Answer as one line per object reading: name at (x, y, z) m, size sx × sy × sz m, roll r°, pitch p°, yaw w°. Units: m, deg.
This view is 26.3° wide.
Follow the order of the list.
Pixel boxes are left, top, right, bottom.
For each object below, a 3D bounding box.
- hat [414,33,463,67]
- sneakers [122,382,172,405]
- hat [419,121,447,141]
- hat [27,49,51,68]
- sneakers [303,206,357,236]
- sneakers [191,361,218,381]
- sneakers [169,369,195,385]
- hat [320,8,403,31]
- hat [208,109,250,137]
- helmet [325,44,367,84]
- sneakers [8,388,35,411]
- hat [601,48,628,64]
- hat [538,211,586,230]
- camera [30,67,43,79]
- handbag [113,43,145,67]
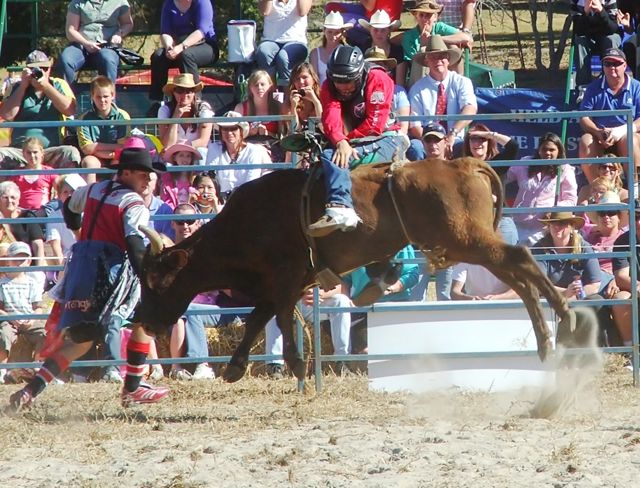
hat at (1.336, -2.178, 15.478) m, size 0.395 × 0.174 × 0.452 m, roll -6°, pitch -13°, yaw 6°
sneakers at (-1.634, 1.403, 12.843) m, size 0.464 × 0.202 × 0.172 m, roll -7°, pitch 6°, yaw -9°
hat at (1.231, -1.178, 14.345) m, size 0.237 × 0.145 × 0.340 m, roll 6°, pitch 16°, yaw 31°
hat at (-3.303, -2.149, 15.950) m, size 0.210 × 0.169 × 0.285 m, roll -4°, pitch 2°, yaw -13°
sneakers at (0.128, -0.210, 12.087) m, size 0.533 × 0.272 × 0.191 m, roll -11°, pitch -17°, yaw -5°
sneakers at (-1.182, 1.298, 13.895) m, size 0.116 × 0.140 × 0.315 m, roll -1°, pitch -10°, yaw 10°
sneakers at (-1.400, 1.337, 13.834) m, size 0.194 × 0.091 × 0.111 m, roll 11°, pitch -1°, yaw 4°
hat at (0.449, -2.570, 15.923) m, size 0.655 × 0.174 × 0.371 m, roll -5°, pitch 6°, yaw -2°
hat at (-0.951, -1.259, 14.433) m, size 0.362 × 0.160 × 0.418 m, roll 0°, pitch -11°, yaw 1°
helmet at (0.270, -1.604, 12.307) m, size 0.289 × 0.322 × 0.342 m, roll 2°, pitch 32°, yaw 14°
sneakers at (-2.755, 1.427, 12.584) m, size 0.209 × 0.166 × 0.216 m, roll -34°, pitch 33°, yaw -22°
hat at (3.310, -2.092, 15.258) m, size 0.250 × 0.150 × 0.244 m, roll 0°, pitch 14°, yaw 9°
hat at (2.451, -0.243, 13.655) m, size 0.239 × 0.075 × 0.264 m, roll 9°, pitch -14°, yaw -18°
camera at (-3.282, -1.962, 15.798) m, size 0.108 × 0.116 × 0.117 m, roll -2°, pitch 22°, yaw -19°
handbag at (-2.266, -2.291, 16.783) m, size 0.215 × 0.109 × 0.338 m, roll 31°, pitch 9°, yaw 19°
